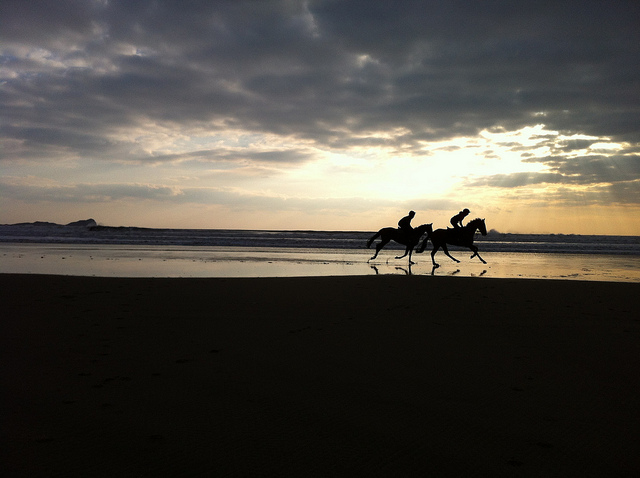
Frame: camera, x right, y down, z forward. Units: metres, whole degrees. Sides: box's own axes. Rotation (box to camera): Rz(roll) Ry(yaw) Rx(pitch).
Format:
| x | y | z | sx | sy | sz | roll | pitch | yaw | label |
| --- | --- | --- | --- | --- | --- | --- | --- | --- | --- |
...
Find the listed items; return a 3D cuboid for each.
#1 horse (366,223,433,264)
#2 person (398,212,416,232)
| x | y | z | sx | sy | sz | roll | pitch | yaw | label |
| --- | --- | --- | --- | --- | --- | --- | --- | --- | --- |
| 3.373 | 0.134 | 22.475 | 2.946 | 1.697 | 0.653 | 7 | 12 | 25 | horse |
| 3.574 | -0.739 | 21.644 | 0.610 | 0.825 | 0.603 | 2 | 10 | 9 | person |
